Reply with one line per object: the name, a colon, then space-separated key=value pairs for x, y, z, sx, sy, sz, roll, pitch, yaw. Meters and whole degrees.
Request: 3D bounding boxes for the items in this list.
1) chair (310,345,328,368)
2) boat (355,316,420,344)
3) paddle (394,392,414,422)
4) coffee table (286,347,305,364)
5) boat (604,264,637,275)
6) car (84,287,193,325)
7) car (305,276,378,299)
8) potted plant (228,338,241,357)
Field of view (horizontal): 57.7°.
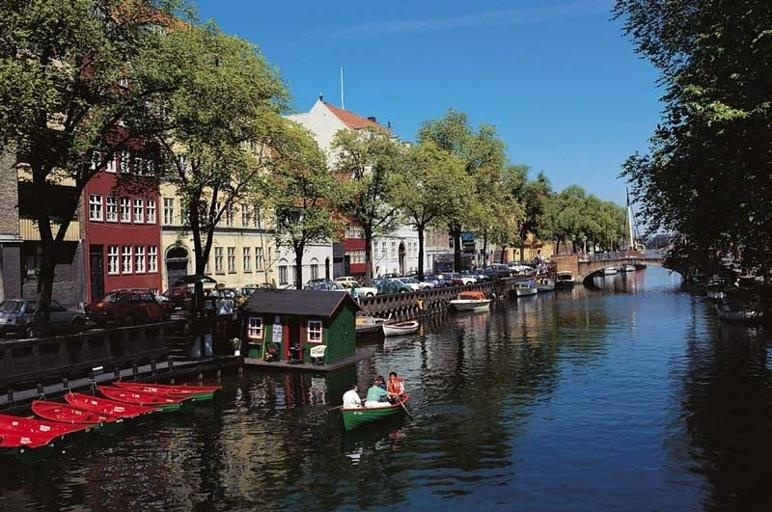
chair: x=-4.990 y=7.142 z=50.245 sx=1.212 sy=1.713 sz=1.579 roll=4 pitch=3 yaw=42
boat: x=-0.219 y=6.810 z=65.063 sx=6.378 sy=2.094 sz=2.365 roll=-5 pitch=8 yaw=-34
paddle: x=1.002 y=8.764 z=40.159 sx=0.243 sy=0.242 sz=2.346 roll=5 pitch=-34 yaw=42
coffee table: x=-6.522 y=7.251 z=50.889 sx=1.356 sy=1.415 sz=1.143 roll=0 pitch=-9 yaw=2
boat: x=60.171 y=3.604 z=180.895 sx=9.114 sy=1.488 sz=1.825 roll=-6 pitch=5 yaw=-39
car: x=-18.968 y=3.971 z=53.579 sx=2.760 sy=1.662 sz=5.499 roll=4 pitch=5 yaw=39
car: x=-4.668 y=3.985 z=76.013 sx=6.134 sy=2.056 sz=2.917 roll=-2 pitch=0 yaw=15
potted plant: x=-10.805 y=6.694 z=51.119 sx=1.198 sy=1.299 sz=1.012 roll=1 pitch=4 yaw=9
